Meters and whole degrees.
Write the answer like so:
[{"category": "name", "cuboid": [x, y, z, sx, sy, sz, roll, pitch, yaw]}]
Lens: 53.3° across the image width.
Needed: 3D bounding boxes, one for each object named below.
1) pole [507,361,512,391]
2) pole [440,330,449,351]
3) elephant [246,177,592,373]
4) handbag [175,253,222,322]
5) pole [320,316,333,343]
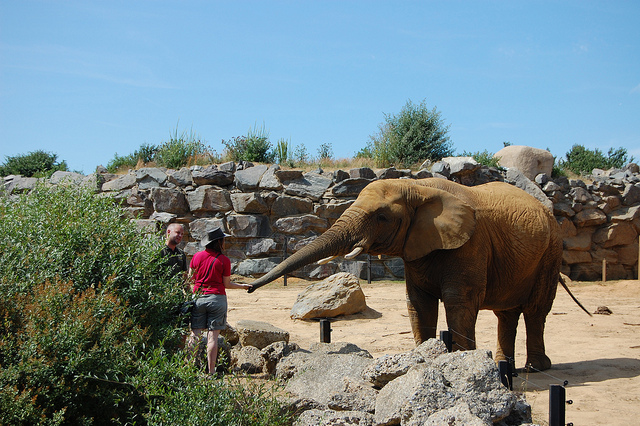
[{"category": "pole", "cuboid": [2.519, 2.117, 8.344, 0.059, 0.368, 0.420, -2, -8, 17]}, {"category": "pole", "cuboid": [1.730, 1.732, 8.693, 0.120, 0.269, 0.282, -1, -8, 11]}, {"category": "elephant", "cuboid": [1.870, 1.108, 10.350, 5.390, 3.525, 2.178, 1, 1, -12]}, {"category": "handbag", "cuboid": [-1.777, 1.090, 9.240, 0.537, 0.947, 0.466, 0, -8, -1]}, {"category": "pole", "cuboid": [0.124, 1.917, 10.487, 0.257, 0.551, 0.300, -1, 0, 5]}]
